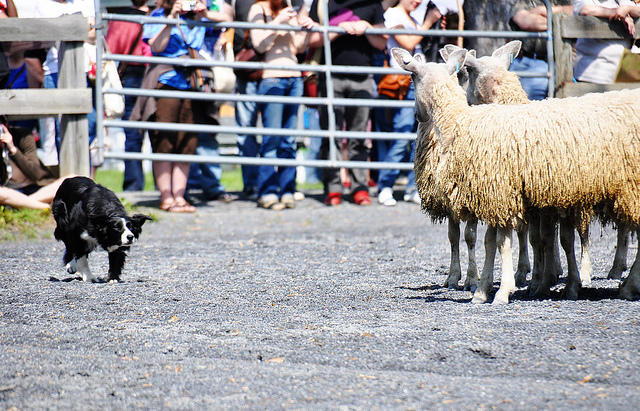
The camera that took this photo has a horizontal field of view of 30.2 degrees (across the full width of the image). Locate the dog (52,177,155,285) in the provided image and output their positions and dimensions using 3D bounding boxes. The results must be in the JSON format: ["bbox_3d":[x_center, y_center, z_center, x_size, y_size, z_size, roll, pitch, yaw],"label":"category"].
[{"bbox_3d":[-2.448,0.255,12.936,1.014,1.118,0.508,-3,1,35],"label":"dog"}]

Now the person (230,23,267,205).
[{"bbox_3d":[-0.976,-1.197,15.881,0.578,2.348,0.492,7,-7,-29],"label":"person"}]

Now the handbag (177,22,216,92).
[{"bbox_3d":[-1.498,-1.882,15.454,0.307,0.749,0.603,-13,35,-20],"label":"handbag"}]

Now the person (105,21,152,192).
[{"bbox_3d":[-2.493,-1.378,15.732,0.612,2.350,0.668,5,-4,-12],"label":"person"}]

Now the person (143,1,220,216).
[{"bbox_3d":[-1.777,-1.238,15.399,1.008,2.633,0.840,-4,1,-6],"label":"person"}]
